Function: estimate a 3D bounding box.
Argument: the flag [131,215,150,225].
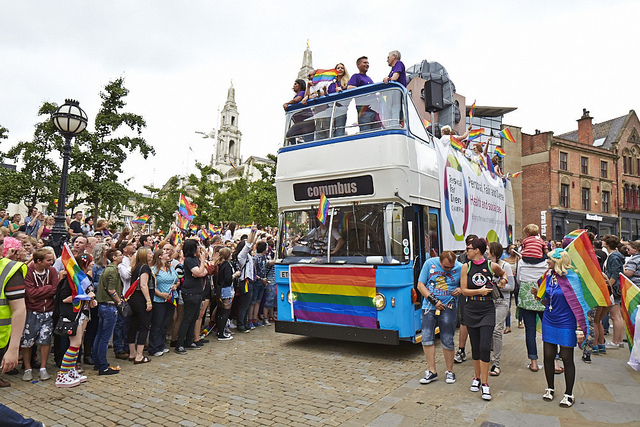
[{"bbox_3d":[-5.676,0.204,14.736,0.451,0.331,0.954,-1,4,-22],"label":"flag"}]

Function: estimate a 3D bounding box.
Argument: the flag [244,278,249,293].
[{"bbox_3d":[-2.049,2.023,12.937,0.082,0.362,0.233,0,4,-2],"label":"flag"}]

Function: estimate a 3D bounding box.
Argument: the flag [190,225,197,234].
[{"bbox_3d":[-5.992,0.743,22.049,0.412,0.416,0.033,-14,15,24],"label":"flag"}]

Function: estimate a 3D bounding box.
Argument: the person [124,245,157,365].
[{"bbox_3d":[-4.084,2.101,10.699,0.733,2.639,0.603,-3,5,-34],"label":"person"}]

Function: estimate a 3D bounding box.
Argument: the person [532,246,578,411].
[{"bbox_3d":[4.633,2.156,9.105,0.748,2.887,1.214,2,5,22],"label":"person"}]

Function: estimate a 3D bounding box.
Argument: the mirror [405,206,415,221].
[{"bbox_3d":[2.047,-0.005,10.721,0.206,0.332,0.062,-1,5,-13],"label":"mirror"}]

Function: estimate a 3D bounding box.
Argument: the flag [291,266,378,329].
[{"bbox_3d":[0.430,2.022,11.264,1.621,0.997,0.075,-1,0,24],"label":"flag"}]

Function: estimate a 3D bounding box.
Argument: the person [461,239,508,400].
[{"bbox_3d":[3.269,2.037,9.419,0.798,3.045,1.166,2,5,24],"label":"person"}]

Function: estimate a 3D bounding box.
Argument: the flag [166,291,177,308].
[{"bbox_3d":[-3.569,2.036,11.166,0.166,0.401,0.404,1,4,8],"label":"flag"}]

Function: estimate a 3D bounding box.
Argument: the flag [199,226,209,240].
[{"bbox_3d":[-4.284,0.735,17.200,0.450,0.090,1.060,-20,-8,-19],"label":"flag"}]

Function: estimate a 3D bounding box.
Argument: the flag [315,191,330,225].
[{"bbox_3d":[0.070,-0.118,11.344,0.265,0.764,0.332,1,4,7],"label":"flag"}]

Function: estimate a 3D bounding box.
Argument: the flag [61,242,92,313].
[{"bbox_3d":[-4.959,1.295,9.496,0.497,1.406,0.361,-2,5,-27],"label":"flag"}]

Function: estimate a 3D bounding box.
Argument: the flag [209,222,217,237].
[{"bbox_3d":[-4.234,0.642,18.400,0.240,0.398,0.771,-1,4,-15],"label":"flag"}]

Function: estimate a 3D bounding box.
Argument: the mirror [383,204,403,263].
[{"bbox_3d":[1.695,0.455,10.821,0.439,1.338,0.247,1,4,7],"label":"mirror"}]

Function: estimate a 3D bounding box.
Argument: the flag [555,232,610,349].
[{"bbox_3d":[5.128,1.338,9.120,0.730,1.881,1.149,4,6,44],"label":"flag"}]

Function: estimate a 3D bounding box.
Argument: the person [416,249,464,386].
[{"bbox_3d":[2.506,2.147,9.771,0.892,2.739,0.718,1,4,6],"label":"person"}]

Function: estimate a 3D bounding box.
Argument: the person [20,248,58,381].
[{"bbox_3d":[-5.821,2.075,9.696,0.707,2.749,0.543,-2,5,-30],"label":"person"}]
